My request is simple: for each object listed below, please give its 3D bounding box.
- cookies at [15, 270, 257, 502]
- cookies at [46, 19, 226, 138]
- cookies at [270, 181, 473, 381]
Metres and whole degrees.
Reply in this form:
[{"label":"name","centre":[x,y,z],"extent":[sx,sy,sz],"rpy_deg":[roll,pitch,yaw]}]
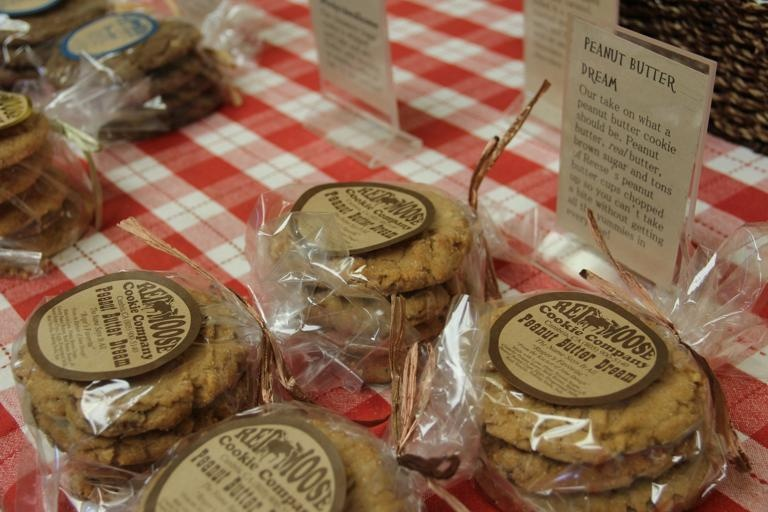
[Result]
[{"label":"cookies","centre":[-0.370,0.230,1.200],"extent":[0.351,0.115,0.315],"rpy_deg":[-37,71,-23]},{"label":"cookies","centre":[-0.578,-0.383,1.697],"extent":[0.351,0.117,0.329],"rpy_deg":[-4,42,-2]},{"label":"cookies","centre":[-0.008,-0.032,1.138],"extent":[0.357,0.230,0.333],"rpy_deg":[1,42,2]}]
